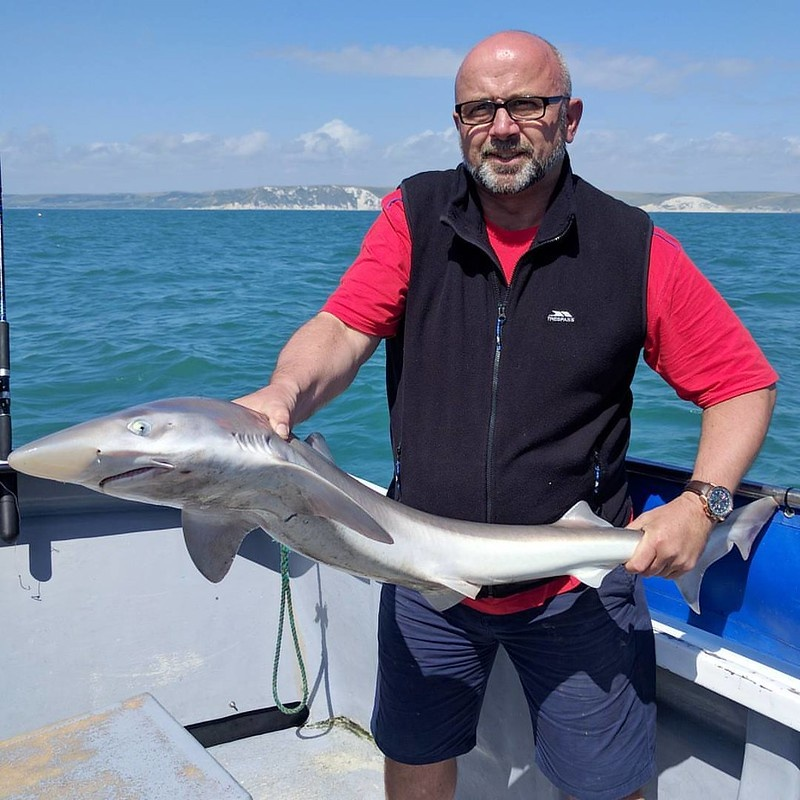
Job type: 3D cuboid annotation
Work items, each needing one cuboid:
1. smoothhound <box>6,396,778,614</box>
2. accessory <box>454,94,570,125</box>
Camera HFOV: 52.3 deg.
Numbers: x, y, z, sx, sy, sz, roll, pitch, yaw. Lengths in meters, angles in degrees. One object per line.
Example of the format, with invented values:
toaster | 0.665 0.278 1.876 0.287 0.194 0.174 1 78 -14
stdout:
smoothhound | 0.219 0.270 2.134 2.175 0.433 0.504 14 -36 -23
accessory | 0.303 -0.779 2.215 0.303 0.089 0.112 2 14 2
